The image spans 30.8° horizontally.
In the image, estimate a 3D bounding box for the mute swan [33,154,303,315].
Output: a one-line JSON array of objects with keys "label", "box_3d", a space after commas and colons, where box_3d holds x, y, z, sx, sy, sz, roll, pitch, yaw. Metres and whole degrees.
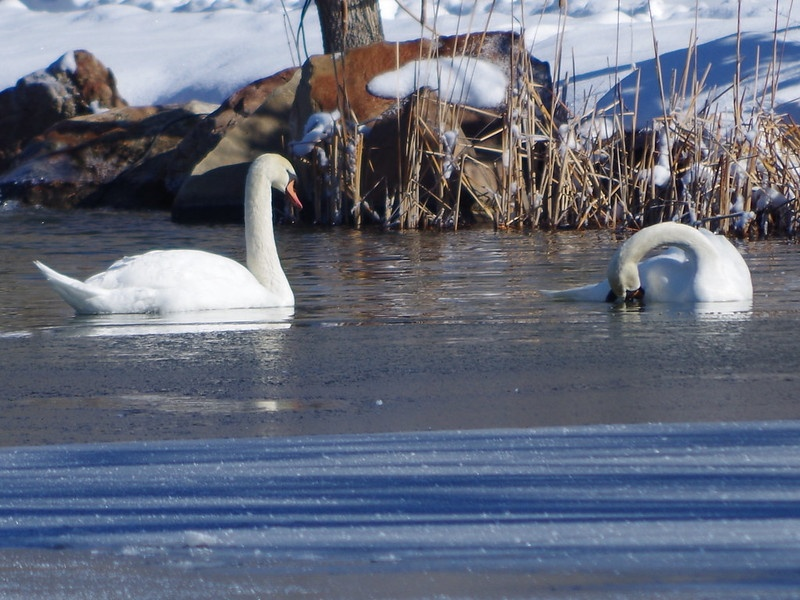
[{"label": "mute swan", "box_3d": [-1.589, -0.412, 9.913, 0.945, 1.154, 2.369, 13, 13, 43]}]

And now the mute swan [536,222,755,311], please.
[{"label": "mute swan", "box_3d": [1.907, -0.065, 10.372, 0.610, 1.044, 0.621, -3, 54, -38]}]
